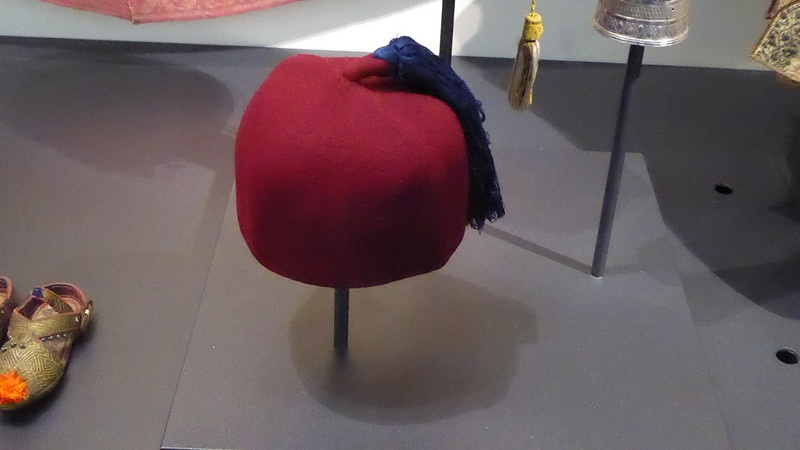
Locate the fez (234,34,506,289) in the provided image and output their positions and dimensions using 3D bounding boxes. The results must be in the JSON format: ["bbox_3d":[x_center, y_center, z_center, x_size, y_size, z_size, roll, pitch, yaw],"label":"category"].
[{"bbox_3d":[-0.079,-0.138,1.973,0.743,0.614,0.739,-4,48,-4],"label":"fez"}]
